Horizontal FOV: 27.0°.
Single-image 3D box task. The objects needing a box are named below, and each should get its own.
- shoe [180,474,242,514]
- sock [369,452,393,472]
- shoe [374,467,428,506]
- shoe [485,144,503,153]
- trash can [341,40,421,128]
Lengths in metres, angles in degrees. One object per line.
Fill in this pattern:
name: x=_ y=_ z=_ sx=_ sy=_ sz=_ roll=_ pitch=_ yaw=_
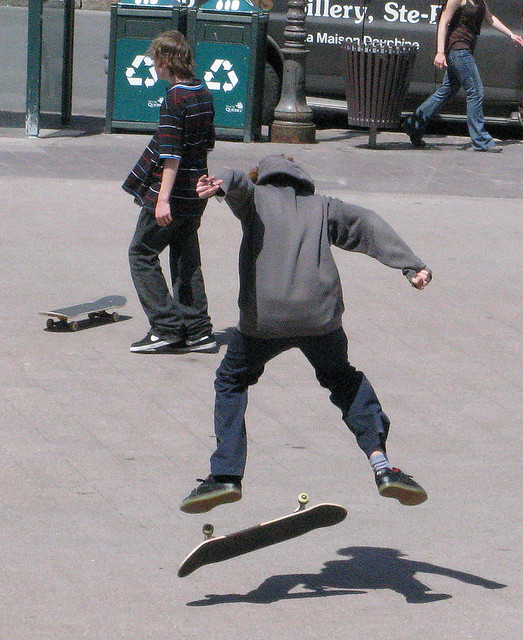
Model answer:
shoe: x=-0.194 y=0.662 z=4.173 sx=0.292 sy=0.095 sz=0.101 roll=-18 pitch=47 yaw=7
sock: x=0.454 y=0.550 z=4.226 sx=0.043 sy=0.038 sz=0.105 roll=-13 pitch=5 yaw=14
shoe: x=0.516 y=0.636 z=4.166 sx=0.237 sy=0.084 sz=0.107 roll=25 pitch=-40 yaw=-35
shoe: x=2.697 y=-2.056 z=12.816 sx=0.252 sy=0.083 sz=0.083 roll=0 pitch=7 yaw=21
trash can: x=1.299 y=-2.729 z=12.519 sx=0.827 sy=0.960 sz=0.579 roll=6 pitch=14 yaw=9
